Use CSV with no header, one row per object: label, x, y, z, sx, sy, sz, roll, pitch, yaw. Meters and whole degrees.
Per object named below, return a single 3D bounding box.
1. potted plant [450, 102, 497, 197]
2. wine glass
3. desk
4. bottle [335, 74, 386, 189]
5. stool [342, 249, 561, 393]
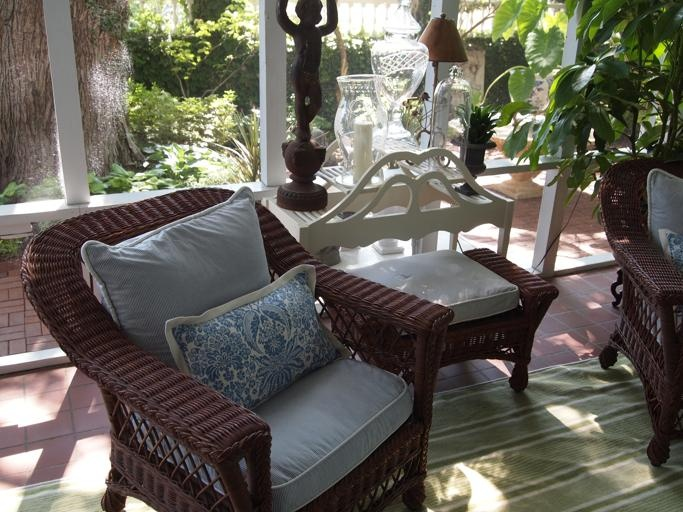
potted plant,0.691,-0.551,2.724,0.210,0.421,0.202,2,17,-25
wine glass,0.282,-0.868,2.620,0.297,0.512,0.252,3,28,8
desk,0.435,-0.086,2.685,0.768,0.746,0.449,-15,22,-29
bottle,0.084,-0.571,2.409,0.227,0.468,0.092,-1,19,2
stool,0.616,0.279,2.542,0.556,0.492,0.563,-9,27,-18
